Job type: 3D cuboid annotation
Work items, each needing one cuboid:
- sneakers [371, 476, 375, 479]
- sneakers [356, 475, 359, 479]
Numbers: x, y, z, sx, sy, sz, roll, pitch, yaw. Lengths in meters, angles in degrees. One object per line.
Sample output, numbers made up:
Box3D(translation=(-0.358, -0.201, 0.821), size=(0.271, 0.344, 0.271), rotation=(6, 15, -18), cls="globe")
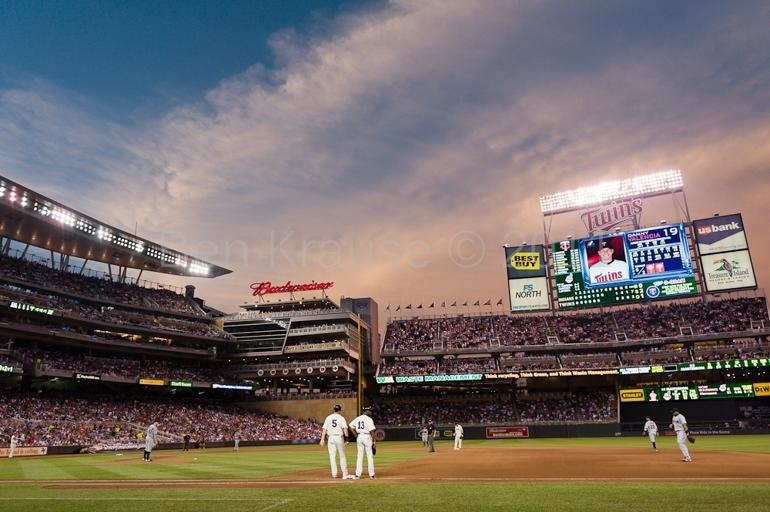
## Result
Box3D(translation=(-0.642, 11.631, 30.208), size=(0.186, 0.172, 0.214), rotation=(-3, -6, 1), cls="sneakers")
Box3D(translation=(-1.429, 11.477, 29.912), size=(0.156, 0.198, 0.363), rotation=(-6, -18, 3), cls="sneakers")
